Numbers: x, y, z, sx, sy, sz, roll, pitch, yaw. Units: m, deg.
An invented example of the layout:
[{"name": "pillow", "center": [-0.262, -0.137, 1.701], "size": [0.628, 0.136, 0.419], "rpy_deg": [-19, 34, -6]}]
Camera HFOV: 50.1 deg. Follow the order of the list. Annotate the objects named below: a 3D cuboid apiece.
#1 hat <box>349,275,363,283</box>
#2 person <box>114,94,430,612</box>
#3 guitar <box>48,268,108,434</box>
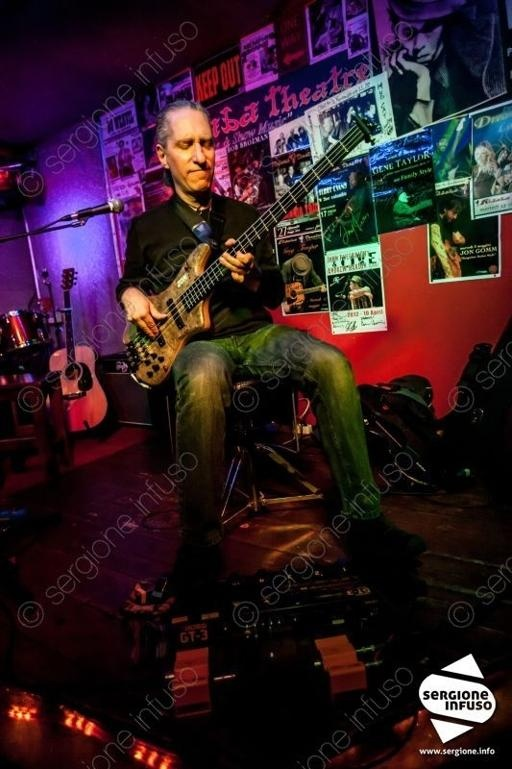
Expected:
[{"name": "hat", "center": [0.493, -0.517, 2.685], "size": [0.043, 0.037, 0.036], "rpy_deg": [27, 24, 32]}, {"name": "person", "center": [-0.008, -0.191, 1.625], "size": [0.736, 1.449, 0.930], "rpy_deg": [-9, 9, -13]}, {"name": "guitar", "center": [-1.233, -0.231, 3.726], "size": [0.327, 1.124, 0.428], "rpy_deg": [-10, 9, -20]}]
